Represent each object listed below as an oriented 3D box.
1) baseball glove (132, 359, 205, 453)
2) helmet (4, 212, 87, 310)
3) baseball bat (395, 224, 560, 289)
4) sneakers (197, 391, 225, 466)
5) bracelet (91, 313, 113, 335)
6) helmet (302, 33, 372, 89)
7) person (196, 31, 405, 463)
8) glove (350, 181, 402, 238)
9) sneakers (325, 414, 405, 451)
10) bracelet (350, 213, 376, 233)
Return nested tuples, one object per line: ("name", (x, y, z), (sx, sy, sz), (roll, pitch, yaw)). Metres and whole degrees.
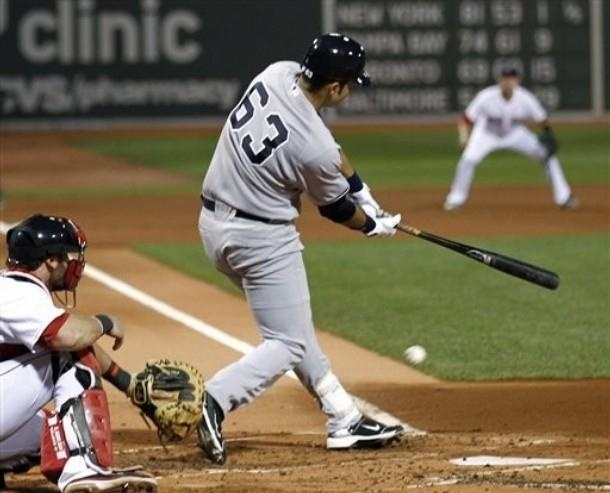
("baseball glove", (-0.837, 0.944, 6.207), (0.367, 0.517, 0.262), (-1, -3, 0))
("helmet", (-1.566, 0.056, 6.348), (0.516, 0.585, 0.470), (-10, 15, -35))
("baseball bat", (1.540, 0.114, 9.332), (1.199, 0.172, 0.165), (18, 42, -3))
("sneakers", (-0.602, 1.116, 6.473), (0.204, 0.464, 0.149), (-9, -6, -23))
("bracelet", (-1.199, 0.479, 6.211), (0.099, 0.114, 0.088), (11, 27, 41))
("helmet", (0.185, -1.177, 6.497), (0.398, 0.212, 0.286), (-9, 41, -16))
("person", (-0.119, 0.006, 6.553), (1.279, 2.608, 0.494), (-5, 6, -7))
("glove", (0.463, -0.205, 6.838), (0.370, 0.138, 0.279), (38, 14, -17))
("sneakers", (0.375, 1.206, 6.736), (0.531, 0.231, 0.198), (-8, 1, -6))
("bracelet", (0.360, -0.139, 6.724), (0.088, 0.103, 0.130), (-7, 8, -20))
